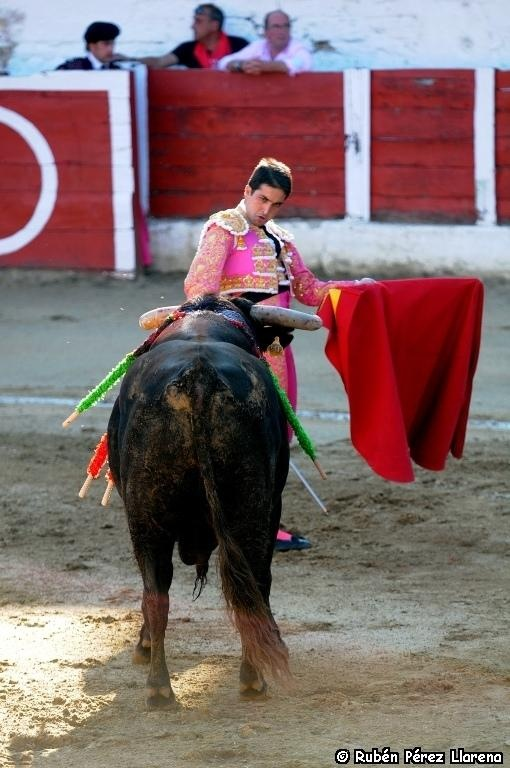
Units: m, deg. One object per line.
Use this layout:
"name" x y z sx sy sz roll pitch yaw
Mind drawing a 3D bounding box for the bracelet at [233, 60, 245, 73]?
"bracelet" -0.097 -1.881 7.117 0.058 0.066 0.028 0 6 10

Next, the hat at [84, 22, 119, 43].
"hat" -0.909 -2.077 7.136 0.197 0.123 0.156 -2 10 -6

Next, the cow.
"cow" -0.102 0.250 2.633 0.482 0.844 0.510 0 11 3
